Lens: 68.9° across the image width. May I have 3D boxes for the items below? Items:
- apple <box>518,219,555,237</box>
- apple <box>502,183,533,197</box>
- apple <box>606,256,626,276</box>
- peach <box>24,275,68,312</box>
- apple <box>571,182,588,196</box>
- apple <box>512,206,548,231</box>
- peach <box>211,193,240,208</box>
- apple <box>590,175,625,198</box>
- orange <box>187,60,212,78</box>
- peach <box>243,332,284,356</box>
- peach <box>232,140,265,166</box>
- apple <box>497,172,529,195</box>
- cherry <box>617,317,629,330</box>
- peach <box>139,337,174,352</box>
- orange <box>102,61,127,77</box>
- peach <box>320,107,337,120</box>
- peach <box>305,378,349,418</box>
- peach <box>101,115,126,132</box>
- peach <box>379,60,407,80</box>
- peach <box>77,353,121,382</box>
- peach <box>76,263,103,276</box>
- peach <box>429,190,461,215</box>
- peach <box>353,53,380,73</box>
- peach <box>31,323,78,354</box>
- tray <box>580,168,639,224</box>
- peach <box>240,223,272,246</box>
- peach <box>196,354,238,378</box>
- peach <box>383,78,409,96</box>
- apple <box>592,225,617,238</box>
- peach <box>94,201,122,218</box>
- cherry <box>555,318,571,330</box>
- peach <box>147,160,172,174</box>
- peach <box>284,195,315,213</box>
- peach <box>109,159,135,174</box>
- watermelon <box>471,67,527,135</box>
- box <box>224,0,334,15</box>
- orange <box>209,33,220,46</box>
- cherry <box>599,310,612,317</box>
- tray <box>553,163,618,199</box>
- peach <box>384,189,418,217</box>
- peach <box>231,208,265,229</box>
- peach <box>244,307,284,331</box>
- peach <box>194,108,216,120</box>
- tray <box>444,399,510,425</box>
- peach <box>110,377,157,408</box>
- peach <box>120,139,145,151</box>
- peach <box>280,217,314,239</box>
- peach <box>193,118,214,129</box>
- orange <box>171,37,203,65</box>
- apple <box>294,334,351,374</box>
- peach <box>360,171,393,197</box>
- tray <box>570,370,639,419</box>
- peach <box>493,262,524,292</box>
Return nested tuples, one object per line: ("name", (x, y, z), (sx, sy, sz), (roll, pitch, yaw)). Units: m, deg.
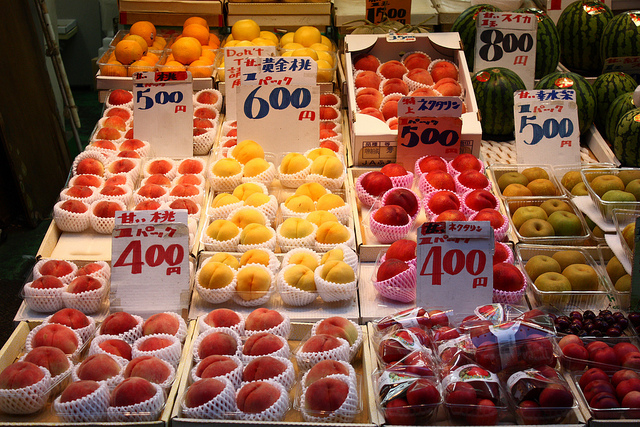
("apple", (1.476, 0.108, 3.194), (0.131, 0.134, 0.143), (-7, 35, 7))
("apple", (1.463, -0.163, 3.478), (0.116, 0.125, 0.125), (-5, 20, -10))
("apple", (1.852, 0.345, 2.948), (0.080, 0.100, 0.109), (-3, 39, 2))
("peach", (-1.670, 0.458, 2.869), (0.203, 0.162, 0.216), (0, 10, -9))
("apple", (1.908, -0.168, 3.456), (0.077, 0.091, 0.087), (-7, 35, 13))
("apple", (1.464, 0.026, 3.276), (0.165, 0.179, 0.173), (1, 3, 2))
("peach", (-0.673, -0.092, 3.315), (0.103, 0.080, 0.136), (2, 12, 12))
("apple", (2.059, -0.217, 3.392), (0.162, 0.172, 0.173), (-6, 28, 4))
("orange", (-1.160, -1.382, 4.517), (0.196, 0.169, 0.208), (1, 14, 7))
("peach", (-0.310, 0.710, 2.561), (0.131, 0.107, 0.129), (-2, 3, 2))
("peach", (-0.567, -0.500, 3.713), (0.189, 0.202, 0.190), (6, 26, 13))
("apple", (1.478, -0.259, 3.594), (0.159, 0.169, 0.171), (-5, 31, 5))
("cherry", (1.712, 0.623, 2.656), (0.056, 0.058, 0.056), (-25, 40, -13))
("peach", (-0.891, 0.715, 2.535), (0.083, 0.058, 0.088), (0, 9, -4))
("orange", (-1.982, -1.384, 4.532), (0.149, 0.167, 0.156), (-2, 15, 2))
("peach", (0.078, -0.910, 4.266), (0.148, 0.086, 0.114), (0, 26, 4))
("peach", (0.033, 0.911, 2.294), (0.214, 0.140, 0.117), (0, 26, 3))
("peach", (-1.780, -0.786, 4.098), (0.133, 0.179, 0.147), (0, 24, 7))
("peach", (0.692, -1.372, 4.467), (0.177, 0.115, 0.193), (-1, 27, 4))
("peach", (-1.138, 0.800, 2.392), (0.211, 0.087, 0.124), (-9, 27, -13))
("peach", (-1.462, 0.345, 2.987), (0.076, 0.055, 0.095), (-25, 2, 2))
("peach", (0.863, -0.067, 3.265), (0.148, 0.172, 0.150), (0, 61, -12))
("peach", (0.445, -1.466, 4.613), (0.198, 0.134, 0.215), (0, 36, 0))
("peach", (-1.451, 0.681, 2.576), (0.164, 0.132, 0.167), (21, 37, 16))
("tray", (1.971, -0.194, 3.310), (0.278, 0.130, 0.485), (0, 36, 1))
("peach", (-0.427, 0.147, 3.085), (0.141, 0.114, 0.147), (-4, 34, -2))
("peach", (-0.536, 0.803, 2.410), (0.208, 0.076, 0.125), (6, 28, 16))
("peach", (0.689, -1.150, 4.270), (0.170, 0.147, 0.176), (2, 15, 6))
("apple", (1.910, 0.125, 3.179), (0.067, 0.091, 0.073), (1, 8, 5))
("peach", (-1.502, -0.049, 3.312), (0.130, 0.083, 0.137), (-6, 29, -33))
("cherry", (1.376, 0.630, 2.651), (0.052, 0.058, 0.056), (-1, 10, 3))
("peach", (-1.264, -0.360, 3.668), (0.117, 0.075, 0.126), (-1, 33, -3))
("peach", (-0.140, -0.063, 3.359), (0.138, 0.117, 0.140), (4, 5, 4))
("peach", (-1.549, -0.384, 3.610), (0.119, 0.079, 0.124), (-5, 14, -2))
("watermelon", (1.569, -0.990, 4.409), (0.473, 0.612, 0.517), (7, 31, 17))
("box", (-0.470, -2.302, 5.251), (1.146, 0.141, 0.110), (1, 26, 5))
("orange", (-1.151, -1.901, 5.109), (0.098, 0.116, 0.272), (-6, 27, -9))
("cherry", (1.653, 0.588, 2.721), (0.038, 0.056, 0.038), (11, -33, -34))
("tray", (2.111, -0.301, 3.796), (0.397, 0.158, 0.314), (1, 33, 11))
("peach", (0.582, -0.088, 3.358), (0.170, 0.200, 0.202), (-3, 21, -4))
("peach", (-0.486, 0.030, 3.171), (0.139, 0.096, 0.150), (0, 12, -3))
("peach", (-0.323, 0.611, 2.662), (0.127, 0.103, 0.139), (-12, -1, -3))
("peach", (-1.036, -0.901, 4.217), (0.119, 0.076, 0.126), (12, 23, 19))
("tray", (0.763, 0.946, 2.291), (0.219, 0.082, 0.163), (-1, -7, 7))
("peach", (-0.915, 0.880, 2.283), (0.150, 0.121, 0.152), (-20, 0, -31))
("peach", (-1.539, -0.556, 3.840), (0.190, 0.066, 0.139), (-15, 30, -24))
("peach", (-0.156, 0.100, 3.139), (0.228, 0.089, 0.143), (-3, 27, -2))
("peach", (-1.018, -0.775, 4.045), (0.093, 0.070, 0.118), (0, 5, 2))
("orange", (-1.306, -1.604, 4.603), (0.263, 0.282, 0.271), (0, 31, 0))
("apple", (0.005, 0.736, 2.568), (0.197, 0.138, 0.255), (-1, 12, -1))
("peach", (0.413, -0.212, 3.467), (0.179, 0.168, 0.181), (5, 10, 1))
("tray", (1.422, 0.937, 2.290), (0.166, 0.044, 0.190), (-1, 44, 2))
("peach", (1.138, 0.399, 2.839), (0.187, 0.123, 0.150), (8, 28, 19))
